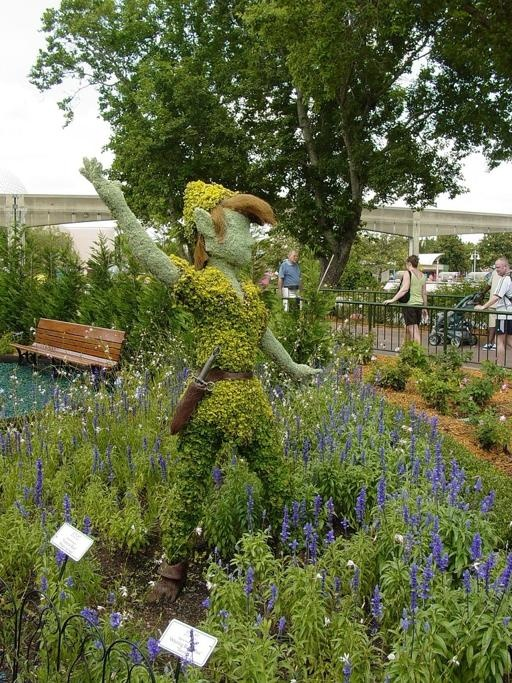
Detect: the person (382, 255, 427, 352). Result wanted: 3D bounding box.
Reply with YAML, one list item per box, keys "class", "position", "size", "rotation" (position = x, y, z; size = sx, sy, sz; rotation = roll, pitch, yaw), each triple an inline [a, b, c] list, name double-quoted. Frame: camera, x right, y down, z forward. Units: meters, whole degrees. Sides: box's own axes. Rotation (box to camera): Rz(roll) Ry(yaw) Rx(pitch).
- class: "person"
  position: [2.620, -0.738, 10.379]
  size: [0.591, 1.501, 1.940]
  rotation: [5, 5, 14]

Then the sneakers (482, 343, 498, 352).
- class: "sneakers"
  position: [4.351, 0.113, 11.136]
  size: [0.130, 0.146, 0.345]
  rotation: [-4, -11, 41]

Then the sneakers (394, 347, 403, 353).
- class: "sneakers"
  position: [2.240, 0.131, 9.461]
  size: [0.107, 0.043, 0.140]
  rotation: [-3, 5, 3]

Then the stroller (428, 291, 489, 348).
- class: "stroller"
  position: [4.217, -0.436, 12.614]
  size: [0.655, 1.128, 1.058]
  rotation: [5, -1, -41]

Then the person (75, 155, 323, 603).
- class: "person"
  position: [-0.329, 0.211, 3.255]
  size: [1.065, 2.188, 0.641]
  rotation: [3, 5, -6]
